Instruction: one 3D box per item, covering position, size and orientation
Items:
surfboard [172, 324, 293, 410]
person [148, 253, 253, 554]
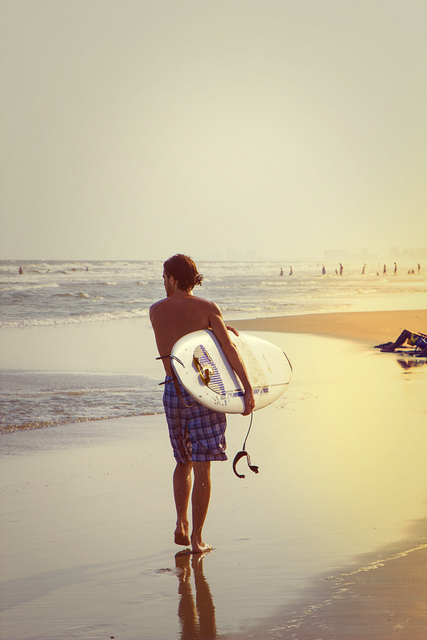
[{"bbox_3d":[0.127,0.295,4.855,0.968,0.503,0.148,-3,-36,-43],"label":"surfboard"},{"bbox_3d":[-0.088,0.456,4.747,0.484,1.641,0.525,-2,5,-11],"label":"person"}]
